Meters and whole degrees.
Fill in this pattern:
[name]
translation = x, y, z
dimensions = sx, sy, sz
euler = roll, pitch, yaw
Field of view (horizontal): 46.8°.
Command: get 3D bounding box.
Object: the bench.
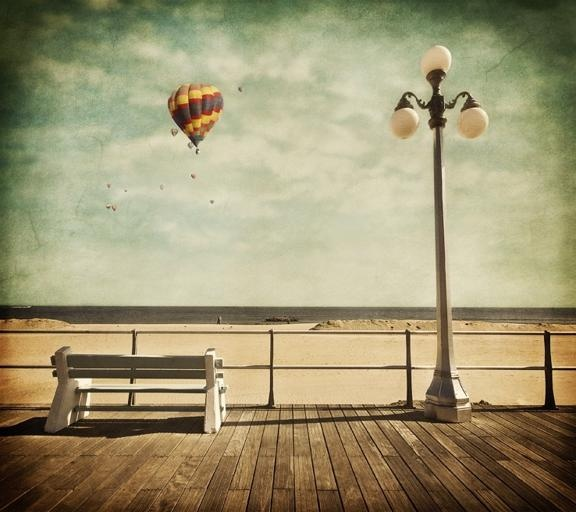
[bench]
translation = -1.955, 1.695, 8.565
dimensions = 2.181, 1.060, 0.631
euler = 0, -2, 4
